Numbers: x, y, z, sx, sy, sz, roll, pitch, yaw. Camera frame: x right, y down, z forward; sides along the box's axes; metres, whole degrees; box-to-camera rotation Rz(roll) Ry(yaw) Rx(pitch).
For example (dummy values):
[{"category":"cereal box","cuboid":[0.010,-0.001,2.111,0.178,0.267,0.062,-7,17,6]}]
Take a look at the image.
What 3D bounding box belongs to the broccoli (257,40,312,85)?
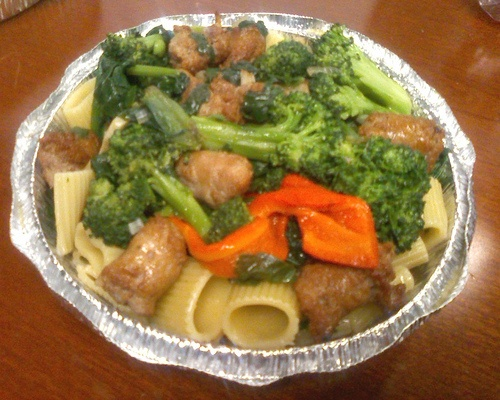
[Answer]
[{"category":"broccoli","cuboid":[0.166,-0.669,2.393,0.249,0.093,0.193,-39,68,-5]}]
